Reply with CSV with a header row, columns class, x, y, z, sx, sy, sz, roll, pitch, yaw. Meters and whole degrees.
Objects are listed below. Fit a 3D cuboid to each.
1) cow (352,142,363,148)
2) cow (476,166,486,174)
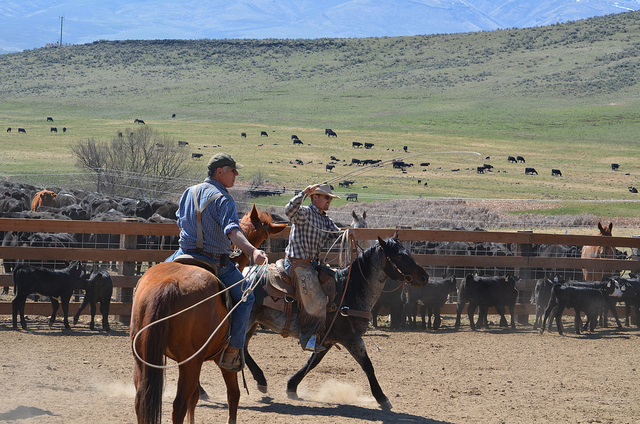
class,x,y,z,sx,sy,sz,roll,pitch,yaw
cow,7.067,-13.704,264.473,1.954,1.030,1.228,1,2,17
cow,30.050,-8.159,249.019,1.494,1.194,2.679,1,2,9
